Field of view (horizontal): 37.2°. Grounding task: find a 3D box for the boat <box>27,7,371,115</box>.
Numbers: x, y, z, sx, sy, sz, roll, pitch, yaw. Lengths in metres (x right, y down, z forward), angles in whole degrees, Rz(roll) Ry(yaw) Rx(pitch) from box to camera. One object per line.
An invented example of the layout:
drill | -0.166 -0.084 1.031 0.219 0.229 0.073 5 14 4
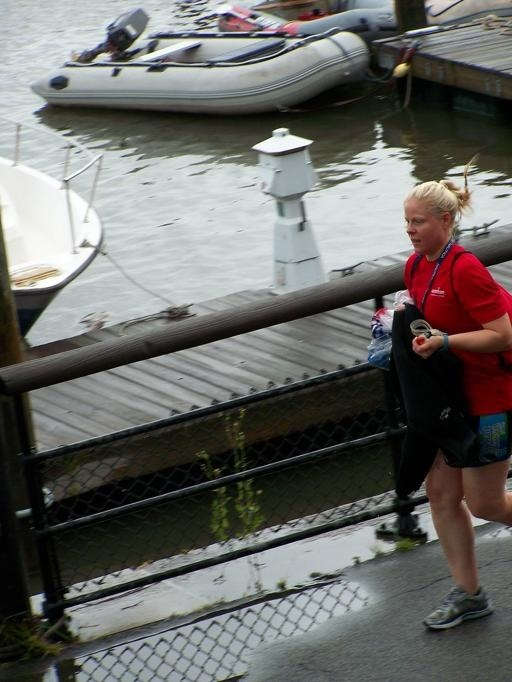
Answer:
boat | -1.863 -6.152 17.779 8.034 1.777 3.214 4 28 26
